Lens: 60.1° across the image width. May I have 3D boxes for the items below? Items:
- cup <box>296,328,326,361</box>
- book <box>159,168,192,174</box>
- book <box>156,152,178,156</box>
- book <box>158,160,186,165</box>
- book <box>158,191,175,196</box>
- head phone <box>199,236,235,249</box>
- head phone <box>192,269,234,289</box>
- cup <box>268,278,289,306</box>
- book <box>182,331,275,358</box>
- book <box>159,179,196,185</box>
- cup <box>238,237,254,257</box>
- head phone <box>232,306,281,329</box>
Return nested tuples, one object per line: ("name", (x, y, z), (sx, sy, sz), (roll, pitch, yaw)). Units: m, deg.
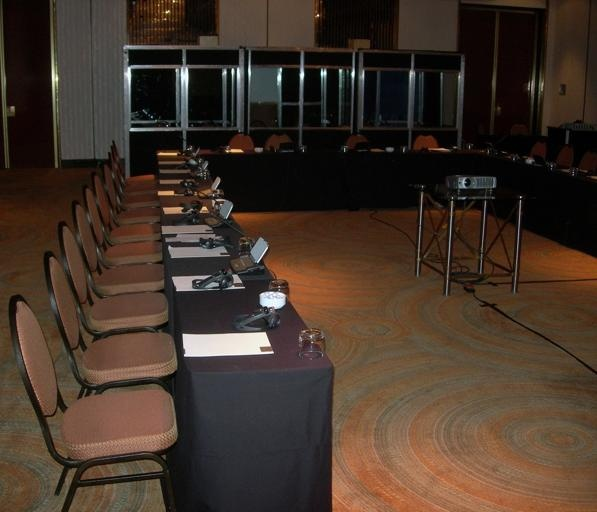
("cup", (0.044, 0.338, 1.973), (0.095, 0.088, 0.095), (0, -2, 0))
("book", (-1.752, -1.187, 7.218), (0.248, 0.061, 0.243), (1, 16, -5))
("book", (-2.376, -1.851, 9.342), (0.292, 0.076, 0.281), (-1, 17, -8))
("book", (-2.005, -1.468, 8.090), (0.243, 0.060, 0.233), (0, 13, -4))
("book", (-1.432, -0.683, 5.593), (0.123, 0.031, 0.118), (-1, 17, -7))
("head phone", (-0.569, -0.090, 3.516), (0.145, 0.051, 0.110), (-1, 12, -7))
("head phone", (-0.462, 0.123, 2.762), (0.157, 0.078, 0.114), (-3, 11, -13))
("cup", (-0.097, 0.180, 2.592), (0.104, 0.109, 0.109), (2, 5, 0))
("book", (-0.284, 0.342, 2.036), (0.352, 0.024, 0.226), (-2, 13, -10))
("book", (-1.569, -0.908, 6.301), (0.232, 0.052, 0.214), (0, 17, -10))
("cup", (-0.349, -0.072, 3.457), (0.105, 0.121, 0.110), (1, 1, 0))
("head phone", (-0.180, 0.275, 2.241), (0.125, 0.060, 0.101), (-2, 7, -13))
